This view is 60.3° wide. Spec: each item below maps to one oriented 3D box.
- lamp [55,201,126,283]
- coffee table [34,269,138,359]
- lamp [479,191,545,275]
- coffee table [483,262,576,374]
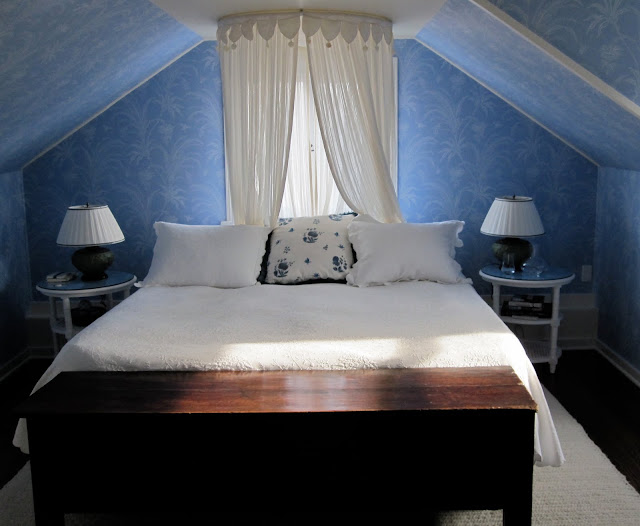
[{"bbox_3d":[-1.581,-0.185,4.005,0.478,0.599,0.500,3,12,21],"label":"lamp"},{"bbox_3d":[-1.686,0.232,3.979,0.633,0.785,0.687,-4,20,-13],"label":"coffee table"},{"bbox_3d":[1.400,-0.212,3.983,0.367,0.469,0.379,-8,11,-36],"label":"lamp"},{"bbox_3d":[1.564,0.445,4.025,0.554,0.696,0.604,4,-5,31],"label":"coffee table"}]
